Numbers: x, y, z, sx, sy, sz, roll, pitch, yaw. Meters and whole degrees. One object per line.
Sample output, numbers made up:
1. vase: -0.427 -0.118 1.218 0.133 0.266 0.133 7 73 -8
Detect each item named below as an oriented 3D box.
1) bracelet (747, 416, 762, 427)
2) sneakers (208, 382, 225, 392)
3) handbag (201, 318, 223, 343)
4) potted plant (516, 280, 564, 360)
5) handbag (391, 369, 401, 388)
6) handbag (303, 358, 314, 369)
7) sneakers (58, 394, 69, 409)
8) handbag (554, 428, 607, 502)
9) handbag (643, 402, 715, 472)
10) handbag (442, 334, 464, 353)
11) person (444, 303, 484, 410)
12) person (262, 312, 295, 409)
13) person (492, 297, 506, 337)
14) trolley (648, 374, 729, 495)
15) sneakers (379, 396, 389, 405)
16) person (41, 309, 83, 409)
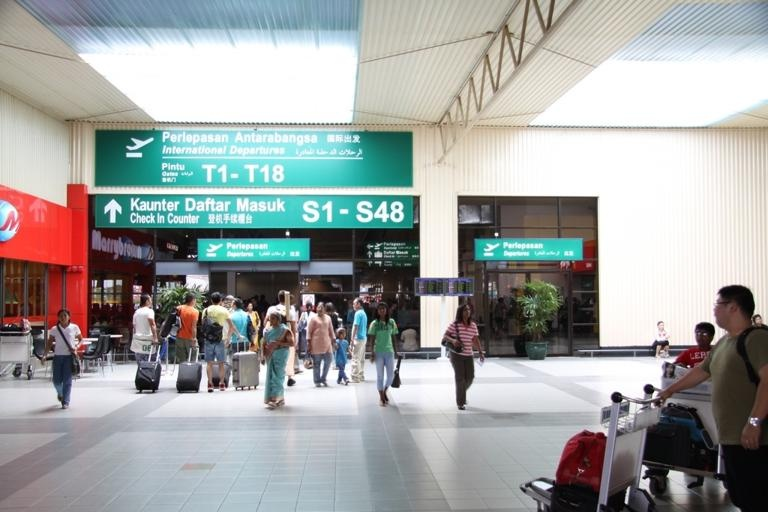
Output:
1. bracelet: 3.484 1.560 4.985 0.104 0.075 0.115 16 -9 -24
2. sneakers: -4.004 3.153 12.746 0.438 0.168 0.157 -1 5 1
3. handbag: -3.982 1.734 12.287 0.569 0.557 0.409 -1 -2 -7
4. potted plant: 5.333 2.241 18.385 1.184 2.630 0.617 -1 -6 -7
5. handbag: 0.231 2.454 10.671 0.167 0.359 0.429 -1 -6 -6
6. handbag: -2.180 3.138 15.449 0.296 0.358 0.858 1 -1 -3
7. sneakers: -6.540 2.961 10.850 0.137 0.167 0.394 1 -1 -27
8. handbag: 2.109 2.206 5.697 0.532 0.596 0.250 -4 -7 22
9. handbag: 3.727 2.311 6.812 0.795 0.772 0.806 1 0 -34
10. handbag: 1.387 1.763 10.724 0.412 0.377 0.224 0 -6 -11
11. person: 1.645 2.057 11.018 0.769 2.079 1.039 -2 -6 9
12. person: -2.201 2.143 11.139 0.608 1.920 0.562 0 -6 -12
13. person: 4.055 2.125 18.685 0.491 1.334 0.125 0 -6 -9
14. trolley: 4.020 2.371 7.105 0.942 1.493 1.176 6 -15 14
15. sneakers: 0.004 3.009 11.042 0.111 0.154 0.356 1 -20 -5
16. person: -6.661 2.113 11.038 0.575 1.979 1.028 2 -7 -30
